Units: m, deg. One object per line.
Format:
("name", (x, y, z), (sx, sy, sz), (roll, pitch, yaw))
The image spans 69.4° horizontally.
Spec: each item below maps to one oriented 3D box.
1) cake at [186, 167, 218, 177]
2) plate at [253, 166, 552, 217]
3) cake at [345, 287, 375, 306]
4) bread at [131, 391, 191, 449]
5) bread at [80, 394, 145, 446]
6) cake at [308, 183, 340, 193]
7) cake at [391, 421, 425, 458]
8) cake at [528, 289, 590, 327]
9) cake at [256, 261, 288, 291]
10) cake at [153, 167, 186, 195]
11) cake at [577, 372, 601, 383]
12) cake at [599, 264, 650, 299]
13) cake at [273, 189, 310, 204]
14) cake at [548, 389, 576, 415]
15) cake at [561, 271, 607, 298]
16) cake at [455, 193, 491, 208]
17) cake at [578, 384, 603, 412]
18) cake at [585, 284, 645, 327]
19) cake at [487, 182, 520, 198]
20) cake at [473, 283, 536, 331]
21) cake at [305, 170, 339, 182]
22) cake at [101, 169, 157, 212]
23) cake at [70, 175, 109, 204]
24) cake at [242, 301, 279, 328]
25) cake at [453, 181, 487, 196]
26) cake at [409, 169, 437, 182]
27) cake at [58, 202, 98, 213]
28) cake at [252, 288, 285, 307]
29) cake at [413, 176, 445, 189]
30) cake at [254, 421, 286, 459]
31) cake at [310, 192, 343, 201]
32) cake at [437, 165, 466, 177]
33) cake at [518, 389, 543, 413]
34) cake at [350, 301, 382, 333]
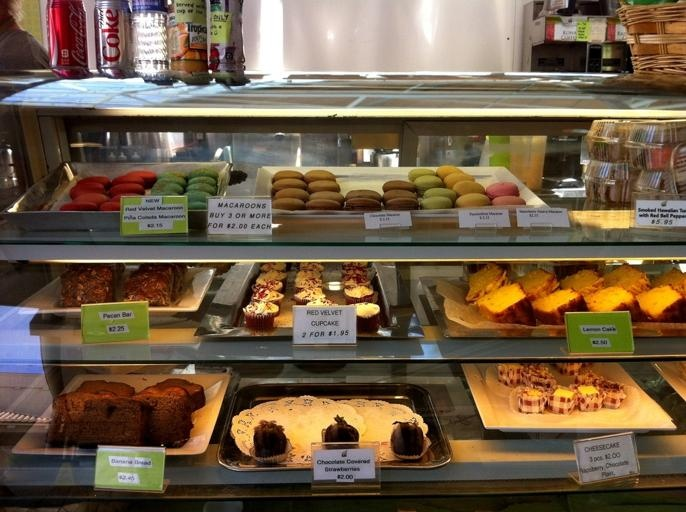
("cake", (-0.481, -0.284, 1.702), (0.073, 0.024, 0.059), (-1, 11, -7))
("plate", (0.178, -0.212, 1.607), (0.673, 0.047, 0.325), (1, 19, -4))
("cake", (0.057, 0.143, 1.785), (0.080, 0.025, 0.078), (5, 8, 40))
("bread", (-0.537, 0.500, 1.514), (0.209, 0.132, 0.181), (1, 5, -2))
("bread", (-0.694, 0.498, 1.495), (0.209, 0.092, 0.091), (1, -10, 2))
("cake", (-0.055, -0.225, 1.614), (0.063, 0.021, 0.055), (-5, 11, -32))
("cake", (0.198, 0.568, 1.580), (0.143, 0.088, 0.114), (0, 0, -4))
("cake", (0.697, 0.165, 1.627), (0.161, 0.040, 0.126), (-13, 16, 17))
("cake", (-0.275, 0.080, 1.921), (0.122, 0.032, 0.161), (1, 16, -4))
("cake", (-0.562, -0.239, 1.598), (0.092, 0.032, 0.141), (-3, 19, -14))
("cake", (0.878, 0.424, 1.760), (0.054, 0.010, 0.052), (-5, 6, -26))
("cake", (1.029, 0.090, 1.804), (0.147, 0.027, 0.132), (-22, 22, -18))
("cake", (-0.158, -0.183, 1.554), (0.083, 0.029, 0.055), (2, -4, -19))
("cake", (0.728, 0.479, 1.646), (0.089, 0.056, 0.110), (4, 4, 35))
("cake", (0.855, 0.093, 1.763), (0.128, 0.024, 0.104), (-13, 16, -3))
("cake", (0.406, -0.172, 1.549), (0.092, 0.033, 0.056), (-2, 7, -11))
("cake", (0.814, 0.473, 1.662), (0.093, 0.047, 0.086), (0, 6, 3))
("cake", (0.885, 0.150, 1.637), (0.157, 0.079, 0.130), (-20, 23, 5))
("cake", (0.523, -0.214, 1.609), (0.086, 0.031, 0.068), (0, 18, 7))
("cake", (0.529, 0.159, 1.620), (0.171, 0.043, 0.156), (6, 18, 35))
("cake", (-0.082, -0.277, 1.692), (0.081, 0.025, 0.067), (-3, 12, -23))
("cake", (-0.667, -0.207, 1.562), (0.128, 0.036, 0.194), (-10, 20, 4))
("cake", (-0.809, -0.226, 1.592), (0.136, 0.048, 0.123), (-13, 26, -16))
("cake", (-0.279, 0.186, 1.620), (0.095, 0.050, 0.098), (1, 17, -5))
("cake", (0.410, -0.218, 1.612), (0.087, 0.033, 0.053), (-2, 29, -17))
("cake", (0.283, -0.276, 1.746), (0.077, 0.032, 0.077), (-1, 4, -1))
("cake", (-0.755, -0.139, 1.415), (0.100, 0.024, 0.087), (-8, 16, -19))
("cake", (-0.268, 0.142, 1.743), (0.068, 0.022, 0.087), (15, 14, 42))
("cake", (0.288, -0.247, 1.664), (0.083, 0.027, 0.051), (-1, 7, -14))
("cake", (-0.221, 0.551, 1.492), (0.127, 0.083, 0.107), (-1, 2, -8))
("cake", (-0.048, -0.187, 1.551), (0.061, 0.018, 0.051), (-1, 7, -20))
("cake", (0.381, -0.301, 1.744), (0.078, 0.025, 0.060), (-1, 13, -4))
("cake", (0.620, 0.479, 1.649), (0.095, 0.042, 0.077), (-2, 8, 2))
("cake", (0.076, 0.202, 1.643), (0.123, 0.061, 0.108), (0, 5, -2))
